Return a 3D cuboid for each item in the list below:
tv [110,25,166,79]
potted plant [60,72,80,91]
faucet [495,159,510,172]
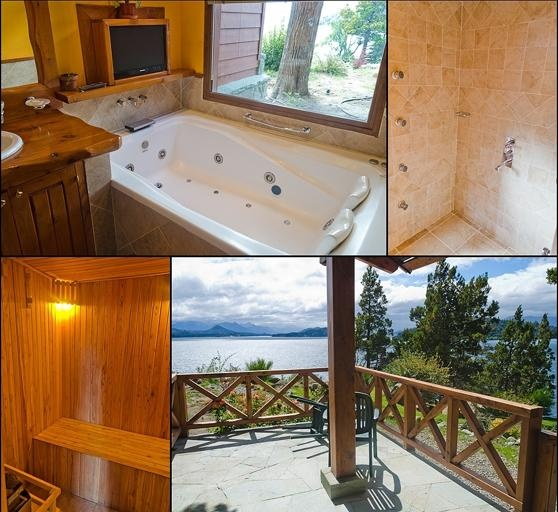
[{"bbox_3d":[-0.772,-1.095,1.922,0.231,0.179,0.032,-28,46,-28],"label":"tv"},{"bbox_3d":[-1.026,-0.838,1.743,0.070,0.062,0.078,1,17,-2],"label":"potted plant"},{"bbox_3d":[1.443,-0.569,2.285,0.027,0.065,0.106,-1,14,-10],"label":"faucet"}]
